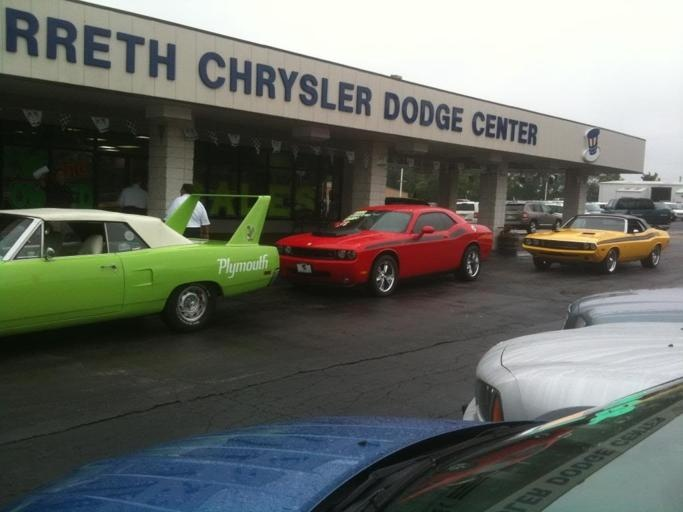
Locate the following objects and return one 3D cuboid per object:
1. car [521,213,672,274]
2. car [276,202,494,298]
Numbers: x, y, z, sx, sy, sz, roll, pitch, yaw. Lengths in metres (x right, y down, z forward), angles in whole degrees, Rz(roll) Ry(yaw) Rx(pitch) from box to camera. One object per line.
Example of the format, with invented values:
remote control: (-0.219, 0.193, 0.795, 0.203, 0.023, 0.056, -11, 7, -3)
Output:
car: (8.223, -0.415, 14.072, 4.325, 1.144, 2.070, -2, 4, -37)
car: (1.164, -0.218, 10.164, 4.092, 1.079, 2.236, -2, 4, -41)
